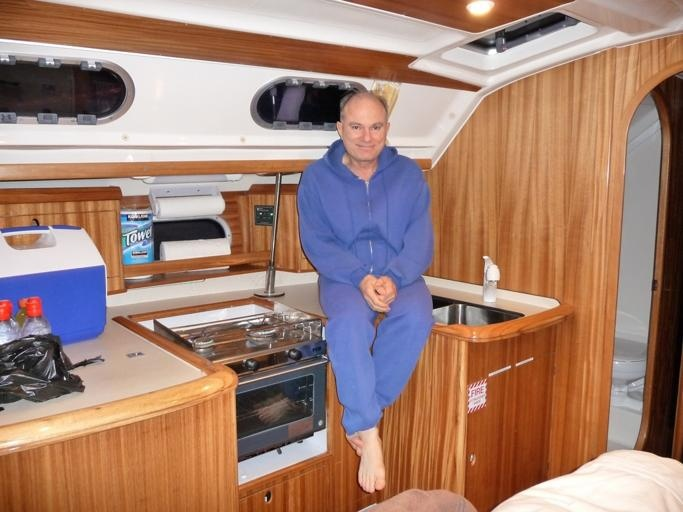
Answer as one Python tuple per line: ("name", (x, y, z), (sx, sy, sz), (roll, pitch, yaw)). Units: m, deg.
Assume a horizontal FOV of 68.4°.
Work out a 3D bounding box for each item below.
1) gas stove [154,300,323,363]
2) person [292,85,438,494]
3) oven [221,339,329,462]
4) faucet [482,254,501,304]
("gas stove", (-0.379, 0.330, 1.969), (0.433, 0.125, 0.368), (-9, 16, -17))
("person", (0.127, -0.003, 1.977), (0.554, 1.261, 0.494), (-3, 6, -8))
("oven", (-0.345, 0.558, 1.989), (0.354, 0.386, 0.504), (-3, 1, 43))
("faucet", (0.707, 0.107, 2.382), (0.065, 0.209, 0.183), (0, 6, 15))
